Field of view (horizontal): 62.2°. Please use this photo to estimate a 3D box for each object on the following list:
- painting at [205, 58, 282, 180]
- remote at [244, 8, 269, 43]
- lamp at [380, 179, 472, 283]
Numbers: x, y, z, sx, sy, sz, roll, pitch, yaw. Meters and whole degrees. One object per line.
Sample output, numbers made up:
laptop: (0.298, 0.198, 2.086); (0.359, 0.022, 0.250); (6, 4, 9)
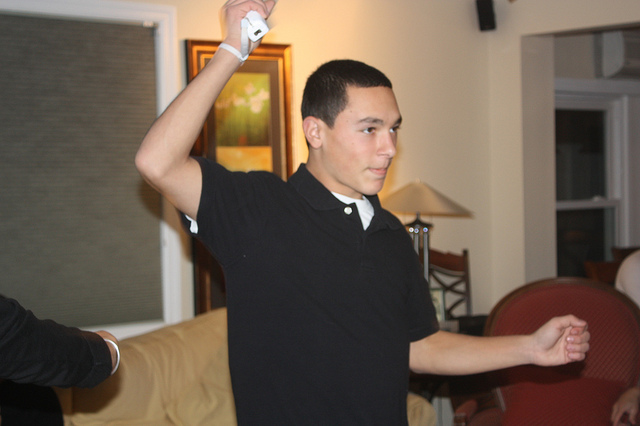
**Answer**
painting: (-0.491, -0.618, 3.550); (0.565, 1.082, 0.051); (-1, -22, -8)
remote: (-0.220, -0.644, 1.801); (0.056, 0.104, 0.059); (-31, -41, 10)
lamp: (0.733, 0.123, 3.817); (0.656, 0.842, 0.681); (1, 1, 19)
